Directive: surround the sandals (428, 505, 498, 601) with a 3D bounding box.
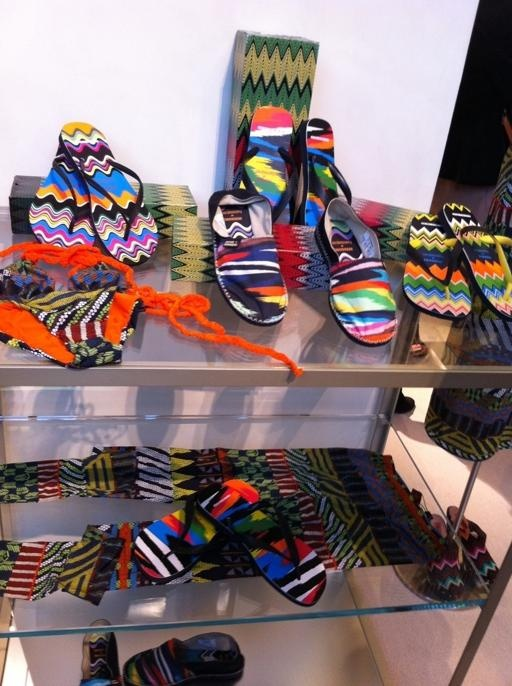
[{"bbox_3d":[0.382,0.393,0.954,0.074,0.038,0.129,-4,39,7],"label":"sandals"}]

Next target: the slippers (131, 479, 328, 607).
[{"bbox_3d":[-0.038,0.336,0.870,0.320,0.132,0.210,-1,26,-19],"label":"slippers"}]

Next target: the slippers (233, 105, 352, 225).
[{"bbox_3d":[0.083,-0.269,0.851,0.174,0.236,0.056,0,9,-15],"label":"slippers"}]

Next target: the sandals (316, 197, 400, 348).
[{"bbox_3d":[0.134,-0.104,0.772,0.092,0.068,0.263,-5,51,-9],"label":"sandals"}]

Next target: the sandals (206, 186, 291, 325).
[{"bbox_3d":[-0.019,-0.127,0.779,0.095,0.063,0.270,-3,48,-14],"label":"sandals"}]

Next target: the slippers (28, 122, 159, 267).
[{"bbox_3d":[-0.249,-0.247,0.819,0.200,0.178,0.211,6,25,-5],"label":"slippers"}]
